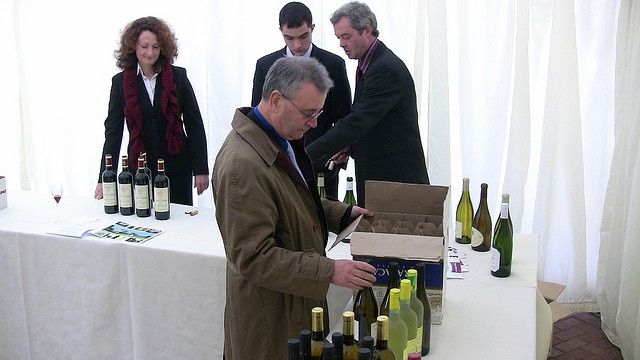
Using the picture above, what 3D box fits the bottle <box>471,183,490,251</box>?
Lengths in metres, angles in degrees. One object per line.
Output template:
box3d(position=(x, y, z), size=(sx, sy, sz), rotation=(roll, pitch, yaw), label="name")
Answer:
box3d(position=(1.087, 0.250, 3.415), size=(0.132, 0.456, 0.307), rotation=(0, 0, 22), label="bottle")

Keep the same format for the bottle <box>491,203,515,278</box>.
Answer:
box3d(position=(1.166, 0.372, 3.247), size=(0.130, 0.468, 0.231), rotation=(0, 0, 20), label="bottle")

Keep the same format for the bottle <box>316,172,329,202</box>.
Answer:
box3d(position=(0.014, 0.039, 3.610), size=(0.072, 0.235, 0.069), rotation=(-3, 46, 3), label="bottle")

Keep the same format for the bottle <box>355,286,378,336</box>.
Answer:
box3d(position=(0.242, 0.709, 2.688), size=(0.128, 0.282, 0.154), rotation=(0, 0, 4), label="bottle")

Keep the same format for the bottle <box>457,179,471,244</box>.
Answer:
box3d(position=(0.974, 0.212, 3.436), size=(0.118, 0.446, 0.281), rotation=(0, 0, 16), label="bottle")

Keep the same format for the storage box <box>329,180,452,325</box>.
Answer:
box3d(position=(0.467, 0.411, 2.900), size=(0.603, 0.669, 0.595), rotation=(10, 22, 34), label="storage box")

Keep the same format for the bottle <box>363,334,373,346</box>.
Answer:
box3d(position=(0.215, 0.719, 2.278), size=(0.041, 0.037, 0.040), rotation=(-2, 10, 4), label="bottle")

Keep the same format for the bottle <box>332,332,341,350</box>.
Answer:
box3d(position=(0.078, 0.728, 2.293), size=(0.042, 0.066, 0.035), rotation=(0, 0, 1), label="bottle")

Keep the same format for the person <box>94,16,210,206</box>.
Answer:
box3d(position=(-1.506, -0.280, 4.398), size=(0.999, 2.124, 0.706), rotation=(-11, 29, -30), label="person")
